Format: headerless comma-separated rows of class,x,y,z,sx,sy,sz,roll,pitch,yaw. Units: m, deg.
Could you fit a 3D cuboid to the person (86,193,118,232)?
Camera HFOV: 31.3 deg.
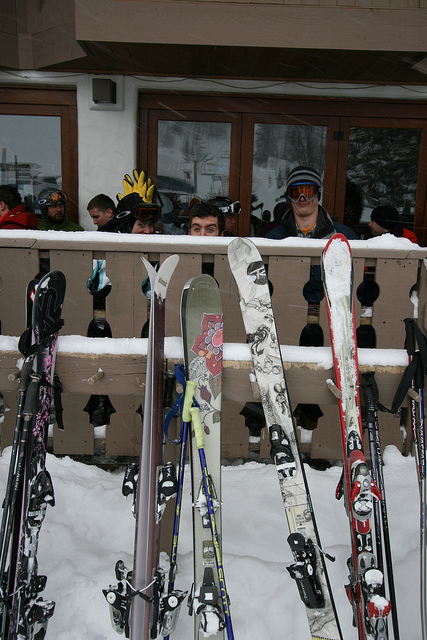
person,-0.779,-0.759,5.317,0.197,0.257,0.911,1,8,-9

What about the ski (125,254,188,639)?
ski,-0.199,0.611,3.172,0.201,1.809,0.278,-3,-12,27

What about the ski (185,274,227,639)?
ski,-0.032,0.528,3.314,0.168,1.585,0.093,1,-18,-8

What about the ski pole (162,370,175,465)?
ski pole,-0.179,0.433,3.335,0.051,0.383,0.058,-2,-12,29

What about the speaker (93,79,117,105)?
speaker,-0.849,-1.807,6.068,0.219,0.201,0.146,0,6,-1

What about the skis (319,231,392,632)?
skis,0.601,0.488,3.265,0.234,2.093,0.139,2,-30,5

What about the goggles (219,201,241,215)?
goggles,0.116,-0.773,5.218,0.138,0.069,0.098,-1,19,13

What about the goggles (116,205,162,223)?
goggles,-0.471,-0.669,4.792,0.181,0.066,0.130,14,22,41

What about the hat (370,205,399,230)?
hat,1.262,-0.762,5.604,0.183,0.175,0.158,3,8,7

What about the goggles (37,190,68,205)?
goggles,-1.163,-0.889,5.531,0.156,0.061,0.117,-11,3,37
